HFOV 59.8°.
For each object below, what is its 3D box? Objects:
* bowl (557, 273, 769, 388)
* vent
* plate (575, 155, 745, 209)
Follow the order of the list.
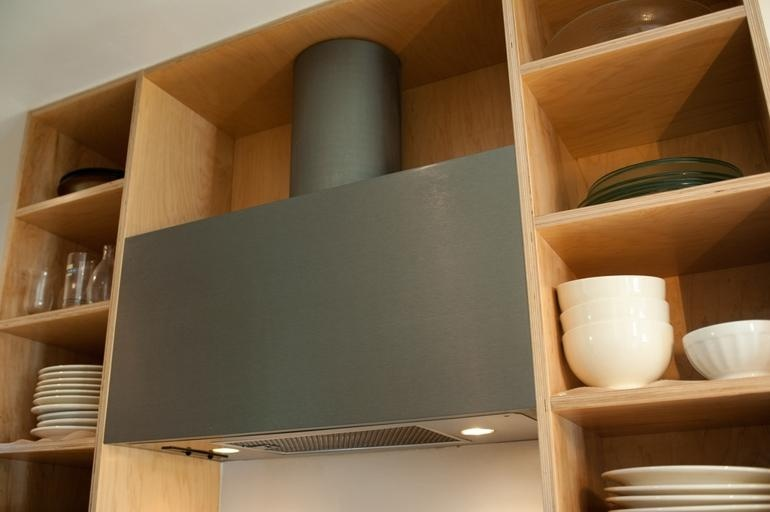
[{"bbox_3d":[0.678,0.190,1.733,0.472,0.211,0.263,-4,-18,4],"label":"bowl"},{"bbox_3d":[-0.143,-0.075,2.302,1.526,1.321,0.535,-13,-25,29],"label":"vent"},{"bbox_3d":[0.750,-0.215,1.809,0.234,0.051,0.223,-7,-11,-18],"label":"plate"}]
